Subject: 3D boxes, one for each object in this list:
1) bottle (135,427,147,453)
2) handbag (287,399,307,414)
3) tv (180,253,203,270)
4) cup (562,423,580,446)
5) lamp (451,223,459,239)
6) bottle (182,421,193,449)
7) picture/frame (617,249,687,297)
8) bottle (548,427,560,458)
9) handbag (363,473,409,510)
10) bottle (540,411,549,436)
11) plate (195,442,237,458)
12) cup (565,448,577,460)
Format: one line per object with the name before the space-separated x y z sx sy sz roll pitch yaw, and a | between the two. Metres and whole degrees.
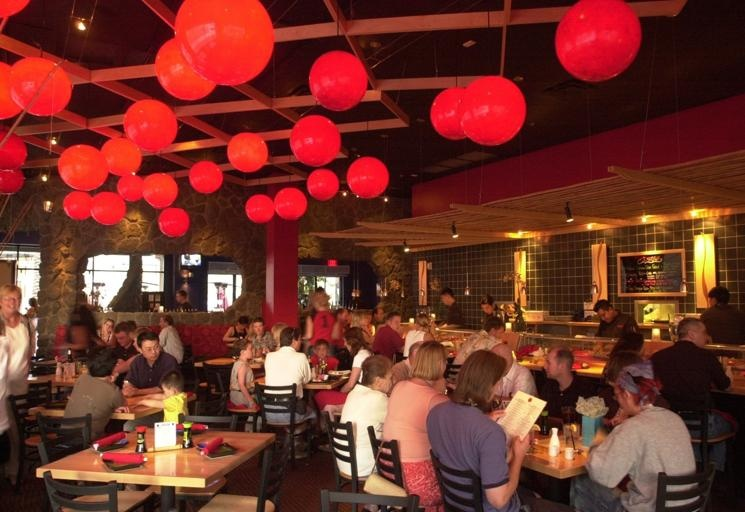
bottle | -2.055 1.608 5.068 0.091 0.223 0.212 1 -5 -23
handbag | -0.962 1.906 7.339 0.182 0.100 0.252 -1 23 -37
tv | -5.823 0.167 18.267 0.214 0.388 0.740 -4 -6 32
cup | 1.788 1.590 5.083 0.165 0.193 0.169 -1 -5 0
lamp | 1.626 -0.525 11.403 0.161 0.262 0.152 -8 -24 -10
bottle | -1.676 1.609 5.160 0.088 0.219 0.116 1 -5 -19
picture/frame | 5.554 0.331 11.261 0.067 0.777 0.968 3 -2 -34
bottle | 1.582 1.595 4.981 0.097 0.230 0.306 -2 -5 20
handbag | 0.085 1.719 4.201 0.347 0.173 0.086 19 -10 29
bottle | 1.647 1.582 5.480 0.081 0.202 0.318 -3 -5 23
plate | -1.343 1.704 5.008 0.241 0.080 0.282 -5 -7 38
cup | 1.679 1.682 4.861 0.086 0.076 0.072 5 -8 -15
